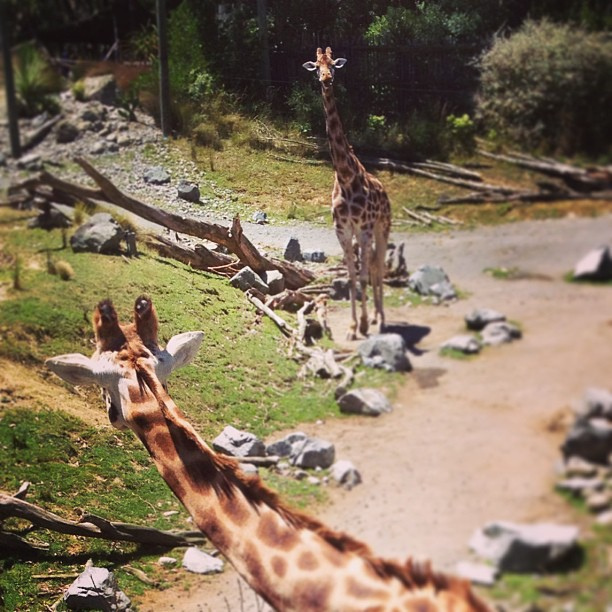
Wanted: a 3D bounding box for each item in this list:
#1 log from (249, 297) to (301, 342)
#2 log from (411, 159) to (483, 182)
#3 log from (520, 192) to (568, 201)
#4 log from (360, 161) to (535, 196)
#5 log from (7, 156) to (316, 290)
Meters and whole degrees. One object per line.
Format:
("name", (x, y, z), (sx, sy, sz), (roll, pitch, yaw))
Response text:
("log", (-0.278, 0.127, 9.318), (0.383, 0.090, 0.102), (47, -4, 10))
("log", (1.287, -1.207, 9.812), (0.426, 0.064, 0.066), (16, 25, -1))
("log", (2.106, -0.976, 9.854), (0.393, 0.088, 0.036), (-6, 13, -11))
("log", (1.326, -1.136, 9.851), (0.831, 0.100, 0.115), (14, 3, 3))
("log", (-1.269, -0.671, 8.954), (1.668, 0.244, 0.406), (28, 24, -26))
